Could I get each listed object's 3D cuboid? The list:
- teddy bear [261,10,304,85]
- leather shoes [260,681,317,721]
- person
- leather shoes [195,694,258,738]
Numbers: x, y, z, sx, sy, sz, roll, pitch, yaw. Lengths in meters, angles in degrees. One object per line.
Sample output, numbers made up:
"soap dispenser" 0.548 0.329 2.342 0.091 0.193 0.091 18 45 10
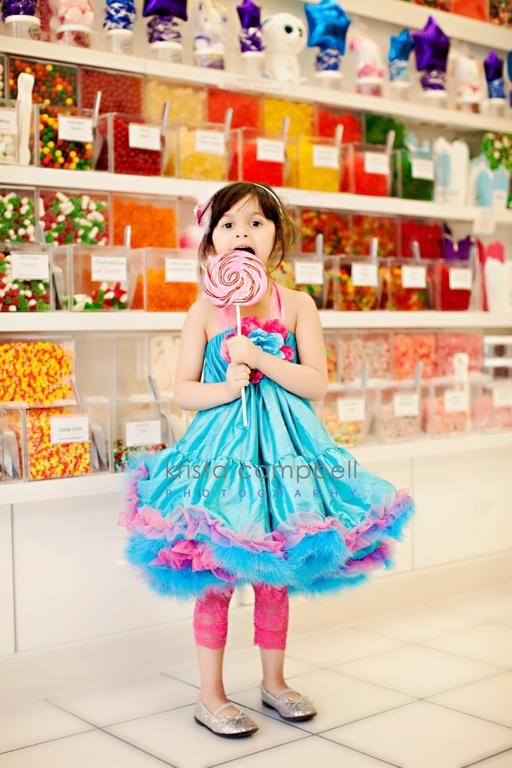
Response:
"teddy bear" 0.090 -1.102 2.167 0.144 0.249 0.159 8 13 28
"leather shoes" 0.063 0.672 1.388 0.056 0.043 0.112 6 -12 -40
"person" 0.000 0.161 1.290 0.531 1.157 0.539 5 10 40
"leather shoes" -0.067 0.661 1.310 0.118 0.048 0.062 -10 -9 41
